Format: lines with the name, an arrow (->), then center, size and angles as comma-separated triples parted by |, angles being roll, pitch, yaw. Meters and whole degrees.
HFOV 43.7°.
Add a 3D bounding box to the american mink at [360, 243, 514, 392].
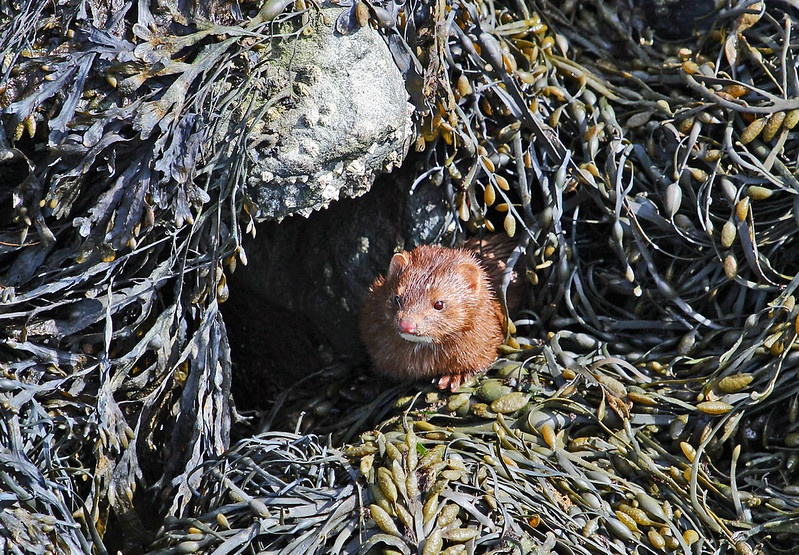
american mink -> 0.218, 0.214, 5.111 | 0.544, 0.449, 0.914 | 15, 39, 19
